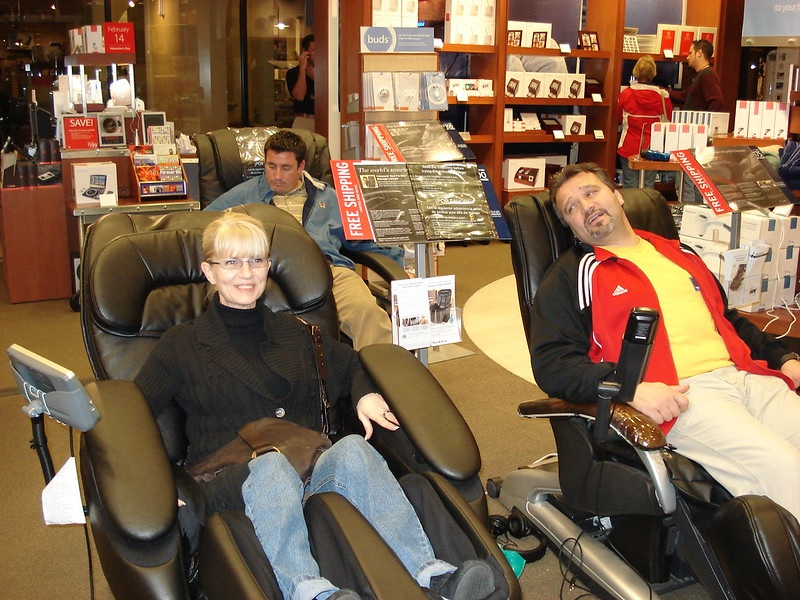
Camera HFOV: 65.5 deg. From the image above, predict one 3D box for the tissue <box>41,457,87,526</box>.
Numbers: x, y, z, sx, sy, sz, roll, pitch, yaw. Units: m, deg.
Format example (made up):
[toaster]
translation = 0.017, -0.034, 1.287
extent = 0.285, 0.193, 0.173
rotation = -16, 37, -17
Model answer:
[tissue]
translation = -0.834, 0.497, 1.545
extent = 0.089, 0.210, 0.096
rotation = -12, 15, -30

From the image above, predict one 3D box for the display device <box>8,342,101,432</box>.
[display device]
translation = -0.841, 0.232, 1.543
extent = 0.305, 0.233, 0.131
rotation = 8, 18, 40

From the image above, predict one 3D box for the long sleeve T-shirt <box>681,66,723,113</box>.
[long sleeve T-shirt]
translation = 3.251, -2.270, 6.679
extent = 0.318, 0.468, 0.526
rotation = -1, 14, 13

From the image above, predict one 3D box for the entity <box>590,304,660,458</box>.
[entity]
translation = 0.692, 0.265, 1.913
extent = 0.184, 0.569, 0.113
rotation = -2, 45, 3

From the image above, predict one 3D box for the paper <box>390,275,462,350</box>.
[paper]
translation = 0.095, 0.046, 2.473
extent = 0.306, 0.300, 0.101
rotation = -9, 3, -26
